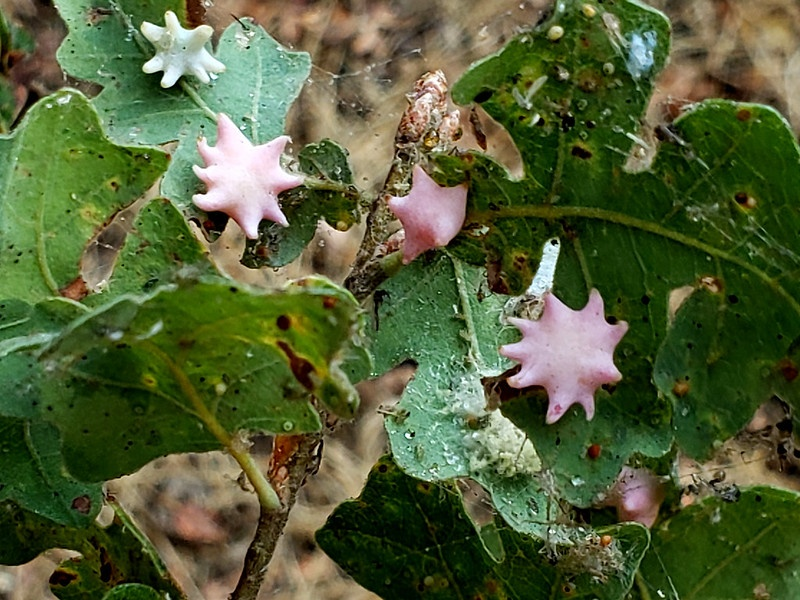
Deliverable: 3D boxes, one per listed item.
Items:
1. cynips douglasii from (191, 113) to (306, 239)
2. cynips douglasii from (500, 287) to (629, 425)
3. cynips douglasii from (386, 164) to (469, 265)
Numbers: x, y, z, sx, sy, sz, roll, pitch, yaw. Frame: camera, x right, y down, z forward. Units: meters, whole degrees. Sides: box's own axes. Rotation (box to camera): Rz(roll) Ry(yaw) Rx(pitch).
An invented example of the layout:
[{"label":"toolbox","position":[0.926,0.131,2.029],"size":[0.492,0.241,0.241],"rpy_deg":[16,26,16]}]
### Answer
[{"label":"cynips douglasii","position":[-0.209,-0.161,2.002],"size":[0.143,0.098,0.144],"rpy_deg":[21,62,6]},{"label":"cynips douglasii","position":[0.217,0.073,1.978],"size":[0.165,0.100,0.156],"rpy_deg":[7,61,-2]},{"label":"cynips douglasii","position":[0.035,-0.112,1.975],"size":[0.090,0.103,0.100],"rpy_deg":[42,66,17]}]
